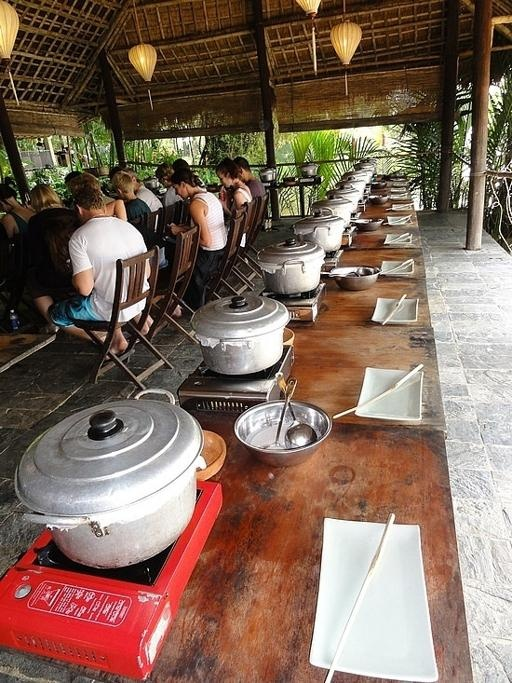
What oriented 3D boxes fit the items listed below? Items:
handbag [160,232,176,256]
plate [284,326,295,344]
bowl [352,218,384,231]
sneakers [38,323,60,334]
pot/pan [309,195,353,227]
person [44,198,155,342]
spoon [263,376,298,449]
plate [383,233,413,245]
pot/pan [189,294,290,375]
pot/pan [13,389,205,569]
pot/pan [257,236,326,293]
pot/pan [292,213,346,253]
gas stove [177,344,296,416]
[{"bbox_3d":[-0.977,-1.099,4.861,0.211,0.216,0.052,-16,-3,-3],"label":"handbag"},{"bbox_3d":[0.118,-0.028,1.630,0.055,0.024,0.054,16,41,20],"label":"plate"},{"bbox_3d":[0.890,-0.943,3.546,0.228,0.058,0.156,9,30,25],"label":"bowl"},{"bbox_3d":[-1.915,-0.138,4.081,0.154,0.045,0.111,-9,38,24],"label":"sneakers"},{"bbox_3d":[0.501,-0.907,2.989,0.317,0.194,0.278,13,33,30],"label":"pot/pan"},{"bbox_3d":[-1.111,-0.507,3.143,0.717,1.086,0.747,2,26,0],"label":"person"},{"bbox_3d":[0.074,0.172,1.175,0.051,0.028,0.209,7,52,25],"label":"spoon"},{"bbox_3d":[1.000,-0.724,3.106,0.156,0.040,0.157,3,33,16],"label":"plate"},{"bbox_3d":[-0.034,-0.049,1.297,0.262,0.169,0.255,-3,34,3],"label":"pot/pan"},{"bbox_3d":[-0.198,0.246,0.748,0.285,0.166,0.299,2,35,9],"label":"pot/pan"},{"bbox_3d":[0.153,-0.316,1.945,0.257,0.169,0.265,-4,32,6],"label":"pot/pan"},{"bbox_3d":[0.366,-0.613,2.503,0.302,0.205,0.310,4,32,25],"label":"pot/pan"},{"bbox_3d":[-0.043,0.087,1.455,0.299,0.116,0.390,3,27,21],"label":"gas stove"}]
